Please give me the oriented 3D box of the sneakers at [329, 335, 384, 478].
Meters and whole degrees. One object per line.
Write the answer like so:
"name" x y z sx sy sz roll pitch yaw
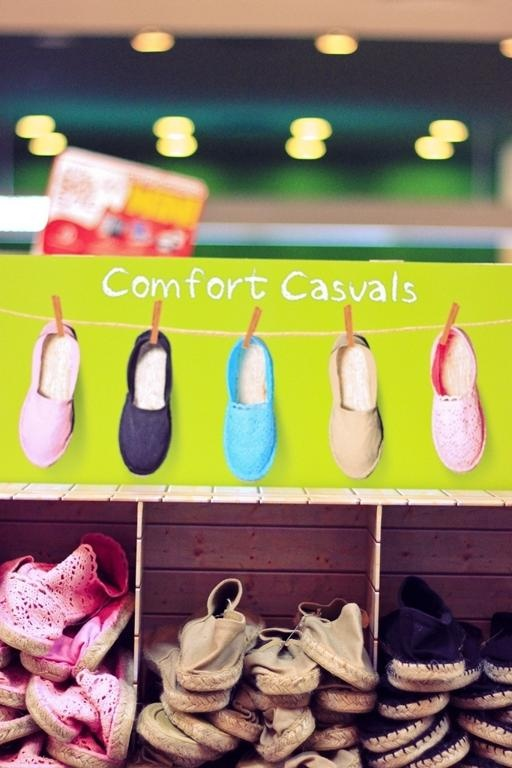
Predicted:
"sneakers" 0.250 0.055 1.783 0.142 0.356 0.096 -2 2 7

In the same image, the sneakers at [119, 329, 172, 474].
"sneakers" -0.283 0.042 1.772 0.140 0.348 0.087 3 1 -6

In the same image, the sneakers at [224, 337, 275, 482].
"sneakers" -0.020 0.063 1.725 0.142 0.352 0.095 0 1 2

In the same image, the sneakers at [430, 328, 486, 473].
"sneakers" 0.515 0.040 1.791 0.144 0.364 0.112 -2 1 17
